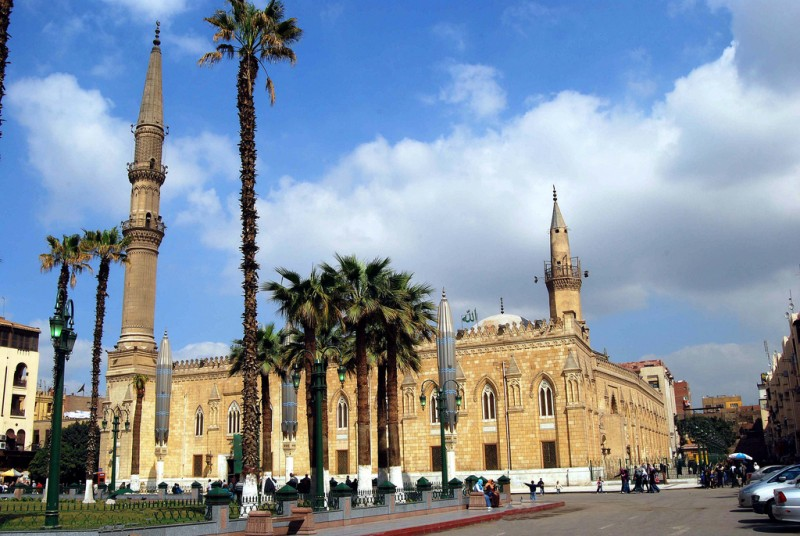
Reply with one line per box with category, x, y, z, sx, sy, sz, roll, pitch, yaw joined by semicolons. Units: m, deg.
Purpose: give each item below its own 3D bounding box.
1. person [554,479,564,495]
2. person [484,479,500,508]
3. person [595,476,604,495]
person;11.549;15.828;56.204;0.618;1.147;0.398;-5;-28;7
person;5.061;12.426;43.032;0.785;1.515;1.048;-6;-19;5
person;13.992;15.159;54.381;0.446;1.081;2.072;-8;-19;12
